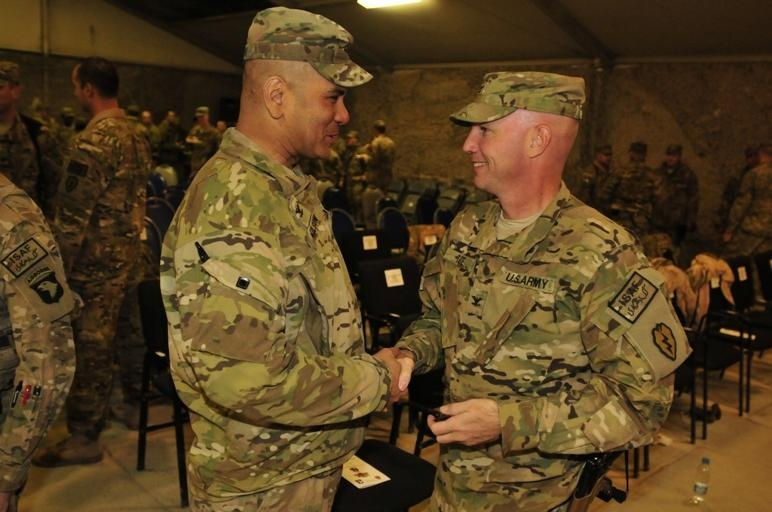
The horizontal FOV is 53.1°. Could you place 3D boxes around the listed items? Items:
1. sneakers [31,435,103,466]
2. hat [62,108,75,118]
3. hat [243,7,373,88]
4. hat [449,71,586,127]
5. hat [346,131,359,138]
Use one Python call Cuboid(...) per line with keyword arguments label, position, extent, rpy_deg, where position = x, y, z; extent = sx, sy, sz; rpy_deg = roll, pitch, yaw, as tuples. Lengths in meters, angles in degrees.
Cuboid(label="sneakers", position=(-2.418, 1.474, 5.885), extent=(0.502, 0.249, 0.192), rpy_deg=(6, -2, -21))
Cuboid(label="hat", position=(-5.151, -2.318, 12.476), extent=(0.190, 0.162, 0.172), rpy_deg=(-12, 45, -28))
Cuboid(label="hat", position=(-0.437, -1.125, 4.074), extent=(0.686, 0.257, 0.393), rpy_deg=(6, 25, -3))
Cuboid(label="hat", position=(0.771, -0.866, 4.322), extent=(0.583, 0.181, 0.337), rpy_deg=(-1, 8, 5))
Cuboid(label="hat", position=(-0.624, -2.254, 14.255), extent=(0.303, 0.114, 0.393), rpy_deg=(4, 8, 8))
